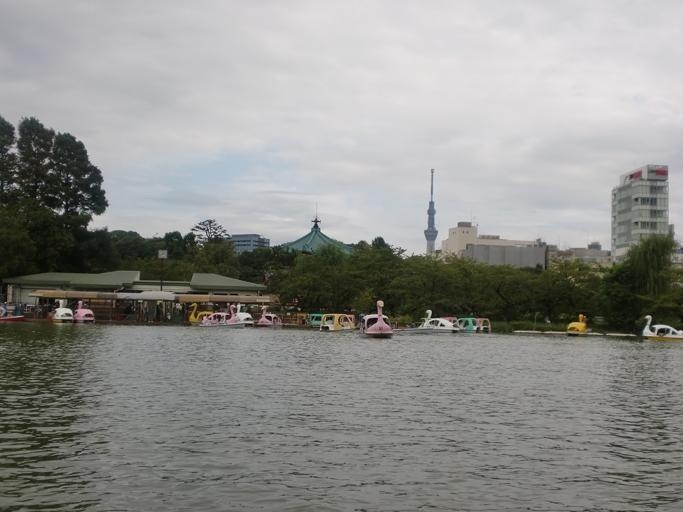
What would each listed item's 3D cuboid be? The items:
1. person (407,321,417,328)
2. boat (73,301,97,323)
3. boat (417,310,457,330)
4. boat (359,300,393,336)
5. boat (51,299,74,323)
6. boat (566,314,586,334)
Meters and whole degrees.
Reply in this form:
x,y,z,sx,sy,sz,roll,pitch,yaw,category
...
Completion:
x,y,z,sx,sy,sz,roll,pitch,yaw,category
7.888,7.491,93.555,1.092,0.440,0.656,3,-6,5,person
-26.877,5.981,89.060,1.742,1.768,4.289,2,1,-38,boat
9.610,7.217,90.111,2.066,1.772,4.356,0,2,-44,boat
3.302,6.483,81.443,2.093,2.235,5.509,1,0,-4,boat
-28.909,5.910,88.467,1.780,1.637,4.778,1,-2,-29,boat
25.553,7.583,92.402,1.545,1.497,4.491,-2,-6,22,boat
